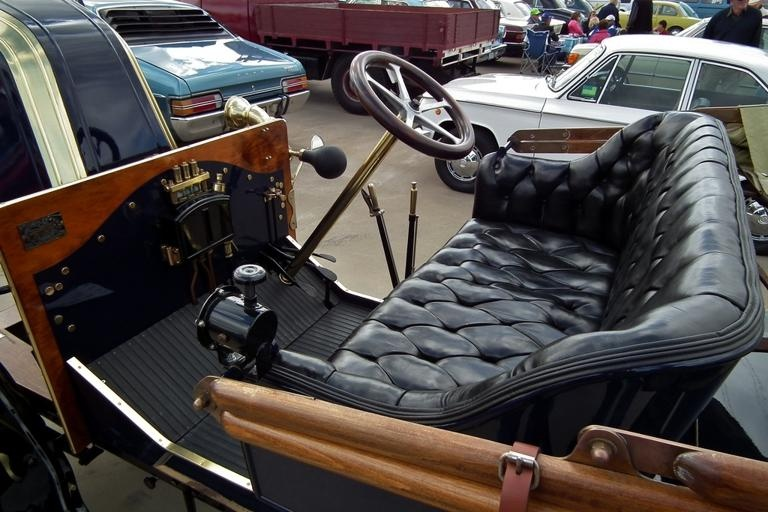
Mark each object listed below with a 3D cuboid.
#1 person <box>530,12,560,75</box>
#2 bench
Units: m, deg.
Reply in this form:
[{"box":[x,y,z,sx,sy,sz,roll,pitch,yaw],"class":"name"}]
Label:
[{"box":[2.717,-3.581,8.749,0.349,0.744,0.437,12,-2,-16],"class":"person"},{"box":[0.557,0.066,2.148,0.912,0.733,1.569,20,33,17],"class":"bench"}]
